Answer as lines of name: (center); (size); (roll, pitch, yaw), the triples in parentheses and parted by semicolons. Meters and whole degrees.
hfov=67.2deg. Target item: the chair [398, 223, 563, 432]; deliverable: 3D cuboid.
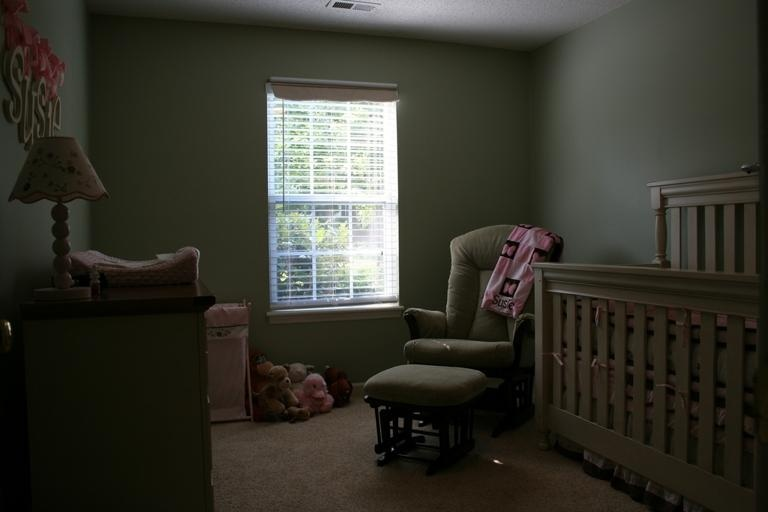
chair: (0.706, 0.443, 4.053); (1.078, 1.304, 1.047); (0, -1, -37)

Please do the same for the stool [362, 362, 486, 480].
stool: (0.264, 0.977, 3.566); (0.647, 0.551, 0.616); (0, -1, 26)

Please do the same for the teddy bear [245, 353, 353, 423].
teddy bear: (-0.604, 0.943, 4.240); (0.732, 0.402, 0.445); (-3, 10, -12)

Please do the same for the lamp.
lamp: (-1.436, -0.193, 2.545); (0.361, 0.674, 0.308); (3, 11, 25)
